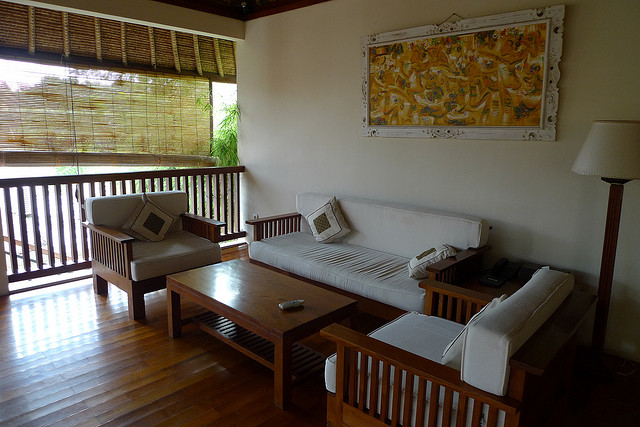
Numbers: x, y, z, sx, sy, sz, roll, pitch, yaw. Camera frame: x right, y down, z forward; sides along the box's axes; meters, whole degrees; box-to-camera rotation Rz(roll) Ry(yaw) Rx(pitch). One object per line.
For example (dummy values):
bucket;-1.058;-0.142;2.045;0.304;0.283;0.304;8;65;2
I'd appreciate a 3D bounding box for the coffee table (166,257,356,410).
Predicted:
coffee table;-0.374;0.572;3.835;1.025;0.681;1.891;-12;18;-44

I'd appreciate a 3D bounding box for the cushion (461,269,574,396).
cushion;1.271;0.780;2.769;0.311;0.391;1.043;21;34;40

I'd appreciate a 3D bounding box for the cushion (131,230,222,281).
cushion;-1.681;0.414;4.863;0.604;0.521;0.554;-11;17;-40

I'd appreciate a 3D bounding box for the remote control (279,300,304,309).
remote control;-0.236;0.760;3.661;0.248;0.068;0.065;-6;8;-21

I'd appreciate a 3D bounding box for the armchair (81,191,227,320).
armchair;-1.903;0.338;5.256;1.606;1.272;1.360;12;16;42

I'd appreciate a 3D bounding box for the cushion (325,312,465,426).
cushion;0.767;1.194;3.260;0.740;0.164;0.703;-11;19;-41

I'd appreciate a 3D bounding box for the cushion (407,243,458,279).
cushion;1.073;0.473;4.207;0.368;0.104;0.356;-25;12;16
